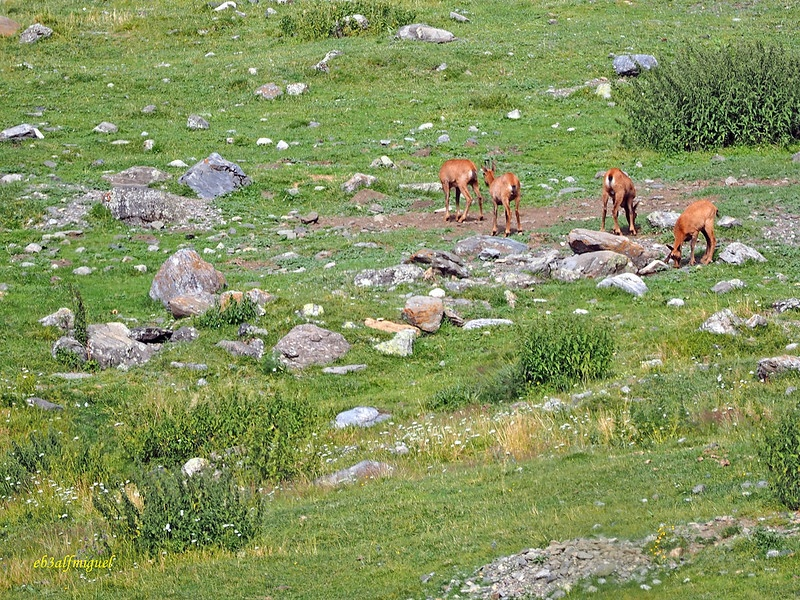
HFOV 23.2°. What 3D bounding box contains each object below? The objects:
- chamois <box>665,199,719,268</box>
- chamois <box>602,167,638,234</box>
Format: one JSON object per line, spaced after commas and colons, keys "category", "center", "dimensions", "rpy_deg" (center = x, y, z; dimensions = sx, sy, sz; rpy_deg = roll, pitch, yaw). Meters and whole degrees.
{"category": "chamois", "center": [8.993, -2.113, 60.580], "dimensions": [1.513, 2.053, 1.109], "rpy_deg": [-2, 13, 8]}
{"category": "chamois", "center": [6.923, -3.188, 62.244], "dimensions": [1.113, 2.193, 1.806], "rpy_deg": [-2, 13, 6]}
